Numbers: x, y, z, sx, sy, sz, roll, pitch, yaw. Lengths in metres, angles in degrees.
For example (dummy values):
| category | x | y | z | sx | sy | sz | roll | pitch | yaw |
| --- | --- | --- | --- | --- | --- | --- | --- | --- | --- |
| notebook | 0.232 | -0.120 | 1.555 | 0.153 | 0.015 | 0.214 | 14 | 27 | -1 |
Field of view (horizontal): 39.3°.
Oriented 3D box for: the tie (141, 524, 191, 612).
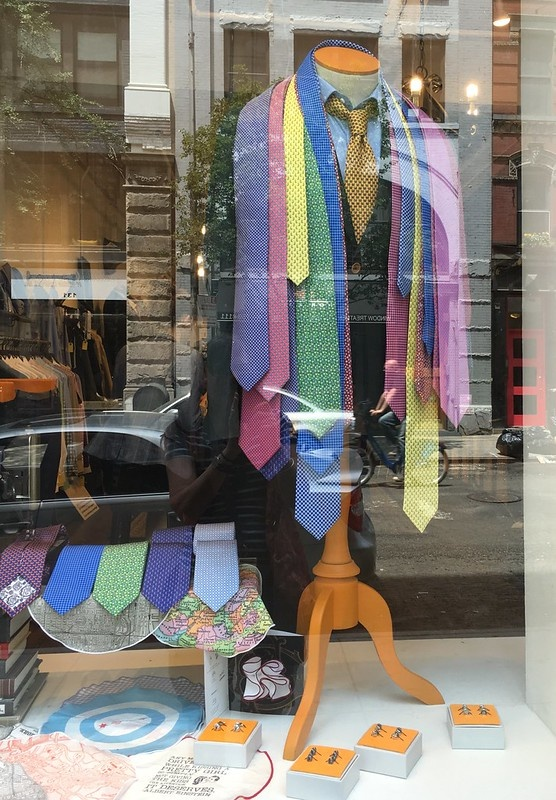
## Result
| category | x | y | z | sx | sy | sz | roll | pitch | yaw |
| --- | --- | --- | --- | --- | --- | --- | --- | --- | --- |
| tie | -0.208 | 0.296 | 1.449 | 0.082 | 0.193 | 0.038 | 3 | 21 | -17 |

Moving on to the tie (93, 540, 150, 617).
| category | x | y | z | sx | sy | sz | roll | pitch | yaw |
| --- | --- | --- | --- | --- | --- | --- | --- | --- | --- |
| tie | -0.289 | 0.324 | 1.432 | 0.086 | 0.015 | 0.151 | 2 | 38 | 7 |

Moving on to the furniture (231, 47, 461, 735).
| category | x | y | z | sx | sy | sz | roll | pitch | yaw |
| --- | --- | --- | --- | --- | --- | --- | --- | --- | --- |
| furniture | 0.132 | -0.040 | 1.445 | 0.438 | 1.198 | 0.309 | -1 | 13 | -5 |

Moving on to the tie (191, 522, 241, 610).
| category | x | y | z | sx | sy | sz | roll | pitch | yaw |
| --- | --- | --- | --- | --- | --- | --- | --- | --- | --- |
| tie | -0.122 | 0.293 | 1.463 | 0.081 | 0.233 | 0.050 | -1 | 28 | -5 |
